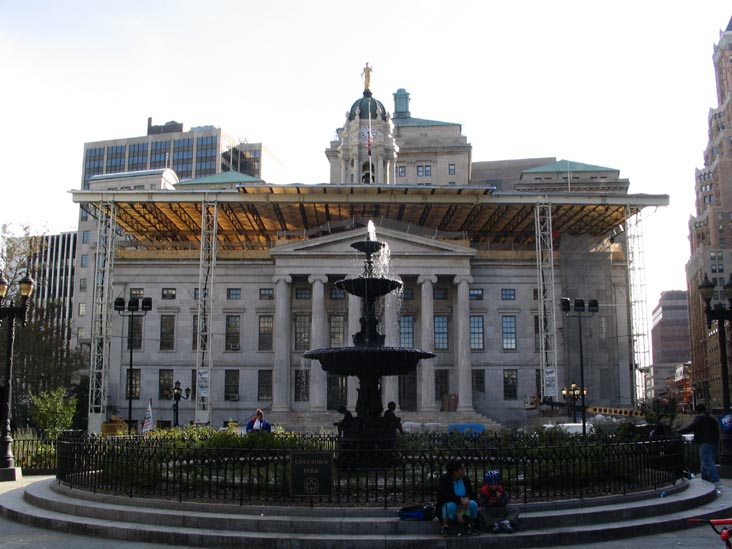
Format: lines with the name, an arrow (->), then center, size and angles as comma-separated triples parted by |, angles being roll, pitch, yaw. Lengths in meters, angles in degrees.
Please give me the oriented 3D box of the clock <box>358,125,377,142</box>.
clock -> 0.251, -12.805, 92.983 | 1.446, 1.703, 0.955 | -12, -16, 43
